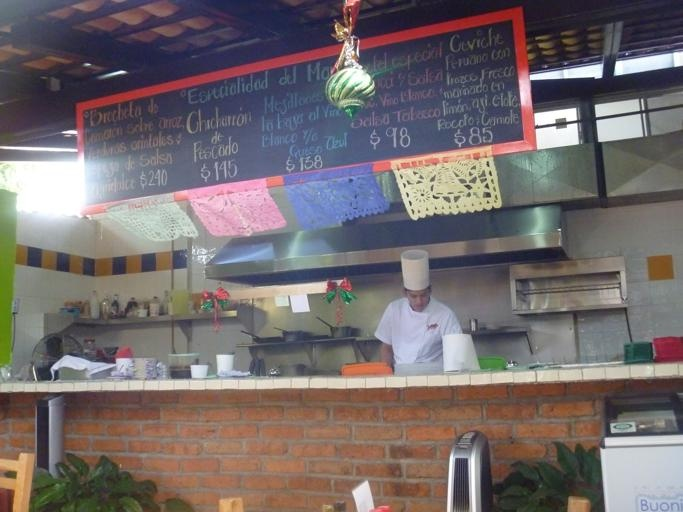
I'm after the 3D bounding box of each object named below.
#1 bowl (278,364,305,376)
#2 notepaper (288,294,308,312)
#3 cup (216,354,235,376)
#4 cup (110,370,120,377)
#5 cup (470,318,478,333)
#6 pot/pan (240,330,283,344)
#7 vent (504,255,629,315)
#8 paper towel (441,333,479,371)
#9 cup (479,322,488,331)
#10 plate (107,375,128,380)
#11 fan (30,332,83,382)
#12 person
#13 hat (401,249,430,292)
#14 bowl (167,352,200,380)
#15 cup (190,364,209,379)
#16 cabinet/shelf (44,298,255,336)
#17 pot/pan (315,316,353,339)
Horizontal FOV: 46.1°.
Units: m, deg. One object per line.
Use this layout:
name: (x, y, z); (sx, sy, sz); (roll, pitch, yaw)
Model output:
bowl: (-0.428, 0.971, 6.849); (0.127, 0.098, 0.131); (0, -2, 0)
notepaper: (-0.332, 0.367, 6.460); (0.142, 0.166, 0.038); (-2, 10, 34)
cup: (-0.716, 0.670, 4.925); (0.142, 0.143, 0.117); (4, -9, -23)
cup: (-1.413, 0.735, 5.035); (0.036, 0.039, 0.038); (1, -3, 0)
cup: (1.108, 0.582, 6.637); (0.078, 0.142, 0.082); (1, 0, 0)
pot/pan: (-0.700, 0.721, 7.263); (0.283, 0.109, 0.166); (-4, -16, 6)
vent: (1.862, 0.237, 6.543); (0.903, 0.461, 0.258); (-5, 3, 24)
paper towel: (0.661, 0.539, 4.459); (0.196, 0.214, 0.201); (-4, -10, 6)
cup: (1.193, 0.590, 6.755); (0.055, 0.062, 0.053); (-1, 2, 0)
plate: (-1.374, 0.745, 4.925); (0.065, 0.017, 0.068); (-1, -4, 25)
fan: (-2.211, 0.777, 6.181); (0.232, 0.293, 0.241); (5, -13, -1)
person: (0.571, 0.477, 5.880); (0.613, 1.024, 0.529); (1, 11, 7)
hat: (0.517, 0.092, 5.617); (0.179, 0.297, 0.256); (-3, -10, 2)
bowl: (-1.010, 0.697, 5.103); (0.154, 0.126, 0.163); (1, -7, 0)
cup: (-0.870, 0.706, 4.892); (0.095, 0.067, 0.083); (2, -11, -7)
cabinet/shelf: (-1.838, 0.604, 7.696); (1.761, 0.269, 0.856); (-3, -10, 0)
pot/pan: (-0.036, 0.629, 7.110); (0.215, 0.159, 0.172); (-4, -11, 30)
